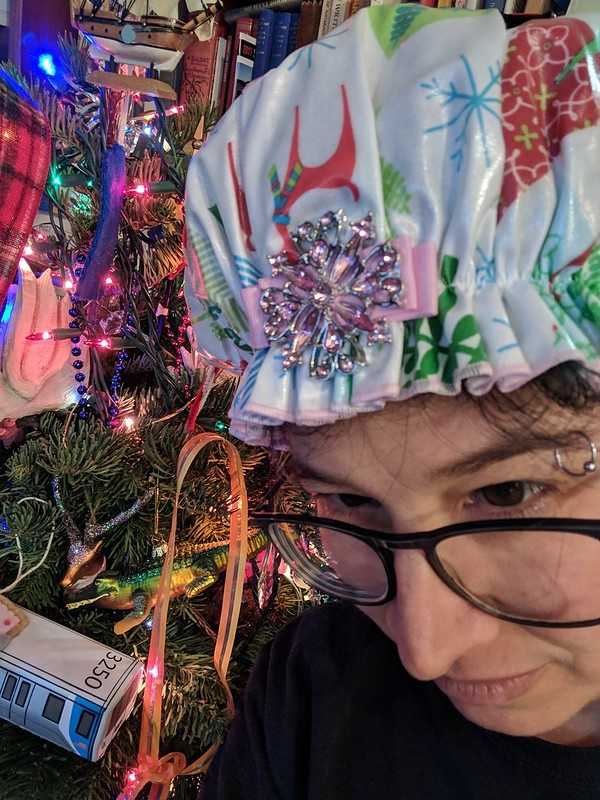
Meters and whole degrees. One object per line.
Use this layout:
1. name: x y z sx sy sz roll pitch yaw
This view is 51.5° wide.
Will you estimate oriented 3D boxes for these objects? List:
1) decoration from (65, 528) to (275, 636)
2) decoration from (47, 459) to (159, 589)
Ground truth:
1. decoration: -0.195 0.265 0.932 0.252 0.061 0.114 -22 38 -16
2. decoration: -0.307 0.197 0.904 0.166 0.140 0.122 4 20 14
